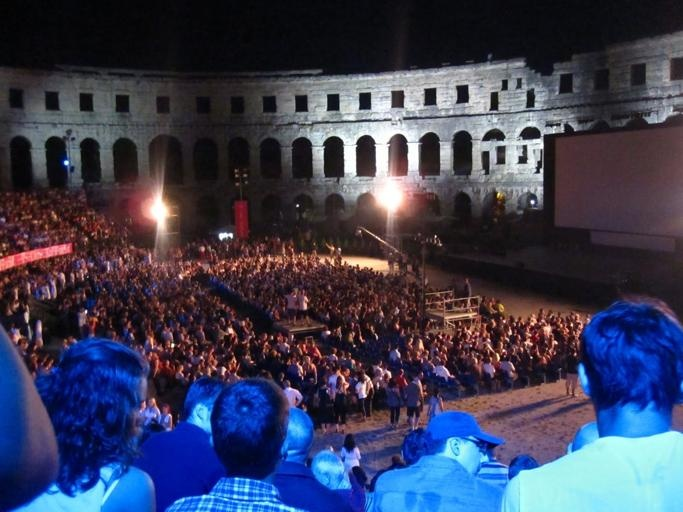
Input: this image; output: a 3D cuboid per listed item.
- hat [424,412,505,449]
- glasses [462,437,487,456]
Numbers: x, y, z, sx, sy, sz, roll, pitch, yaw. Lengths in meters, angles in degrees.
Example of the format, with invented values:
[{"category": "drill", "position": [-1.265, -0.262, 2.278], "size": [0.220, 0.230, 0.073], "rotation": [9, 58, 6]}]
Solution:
[{"category": "hat", "position": [0.735, 1.038, 3.676], "size": [0.353, 0.159, 0.239], "rotation": [2, -6, -6]}, {"category": "glasses", "position": [0.777, 1.134, 3.619], "size": [0.149, 0.052, 0.154], "rotation": [20, -10, -33]}]
